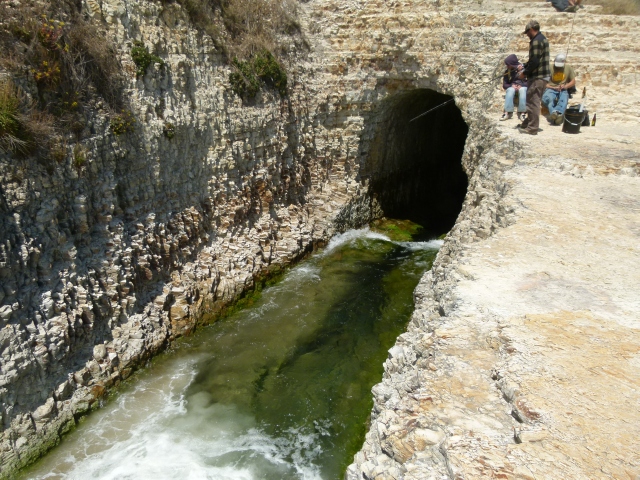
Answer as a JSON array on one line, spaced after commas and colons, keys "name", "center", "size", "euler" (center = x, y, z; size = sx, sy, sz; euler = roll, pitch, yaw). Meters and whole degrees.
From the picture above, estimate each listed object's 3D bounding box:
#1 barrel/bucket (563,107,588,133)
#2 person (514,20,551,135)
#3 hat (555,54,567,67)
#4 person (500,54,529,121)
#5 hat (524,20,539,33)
[{"name": "barrel/bucket", "center": [6.910, -3.248, 15.249], "size": [0.710, 0.727, 0.743], "euler": [3, 16, -1]}, {"name": "person", "center": [5.622, -4.286, 14.913], "size": [0.982, 2.825, 0.856], "euler": [13, 21, 31]}, {"name": "hat", "center": [6.892, -5.120, 16.080], "size": [0.284, 0.347, 0.488], "euler": [5, 20, 19]}, {"name": "person", "center": [5.653, -4.425, 16.162], "size": [0.759, 1.775, 1.151], "euler": [-3, 9, 18]}, {"name": "hat", "center": [5.556, -5.560, 14.697], "size": [0.264, 0.295, 0.708], "euler": [3, 19, 13]}]
